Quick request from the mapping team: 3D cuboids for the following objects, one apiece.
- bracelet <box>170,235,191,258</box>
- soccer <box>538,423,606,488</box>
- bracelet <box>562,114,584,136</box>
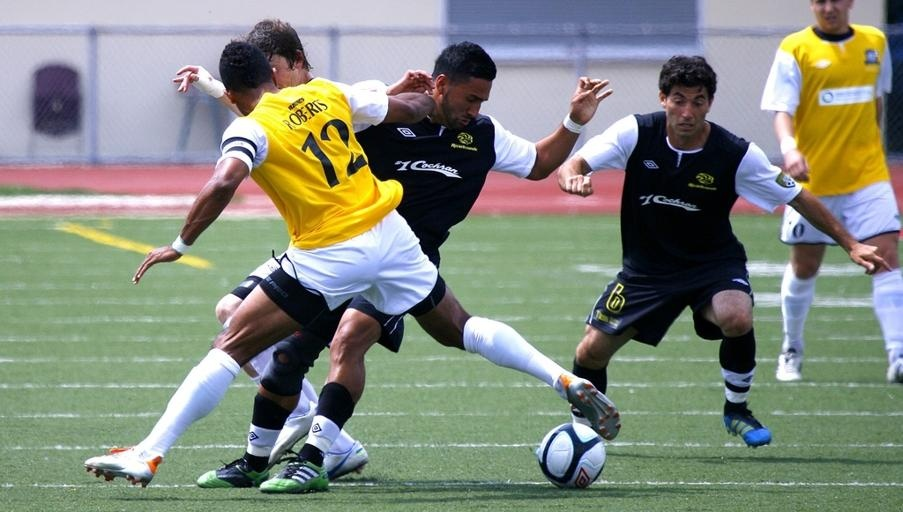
[{"bbox_3d":[-2.252,-0.081,8.914,0.160,0.150,0.122,-41,-6,-10],"label":"bracelet"},{"bbox_3d":[1.008,1.672,9.065,0.593,0.415,0.470,-7,-10,33],"label":"soccer"},{"bbox_3d":[1.080,-1.210,9.879,0.186,0.119,0.192,20,4,43],"label":"bracelet"}]
